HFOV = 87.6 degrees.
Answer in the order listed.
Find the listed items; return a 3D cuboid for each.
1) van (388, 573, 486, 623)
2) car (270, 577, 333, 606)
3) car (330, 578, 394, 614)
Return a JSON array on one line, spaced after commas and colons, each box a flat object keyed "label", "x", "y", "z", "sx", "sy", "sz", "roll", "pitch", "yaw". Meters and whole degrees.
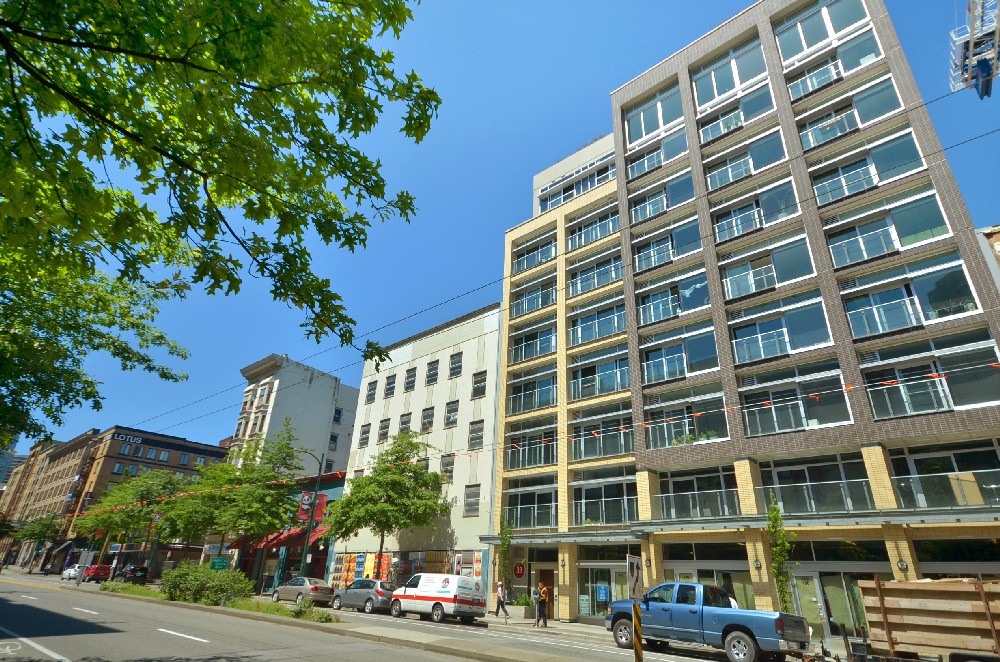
[{"label": "van", "x": -3.253, "y": 13.315, "z": 26.250, "sx": 4.654, "sy": 2.025, "sz": 1.748, "roll": -8, "pitch": -33, "yaw": 21}, {"label": "car", "x": -11.307, "y": 15.245, "z": 30.772, "sx": 2.057, "sy": 1.458, "sz": 3.842, "roll": 25, "pitch": -35, "yaw": -32}, {"label": "car", "x": -7.333, "y": 14.582, "z": 28.890, "sx": 1.718, "sy": 1.589, "sz": 4.521, "roll": 27, "pitch": -36, "yaw": -34}]
